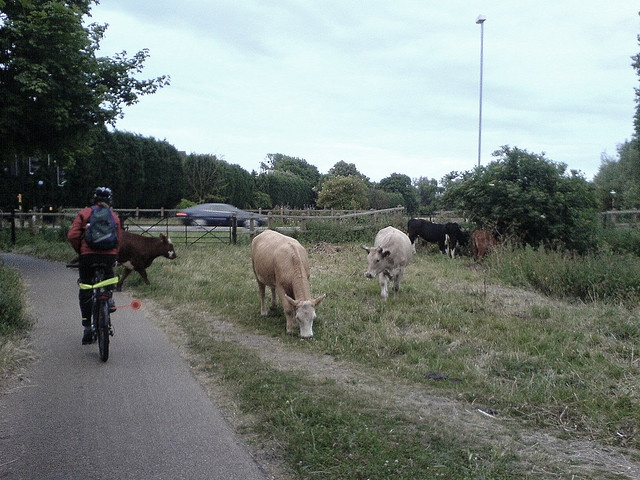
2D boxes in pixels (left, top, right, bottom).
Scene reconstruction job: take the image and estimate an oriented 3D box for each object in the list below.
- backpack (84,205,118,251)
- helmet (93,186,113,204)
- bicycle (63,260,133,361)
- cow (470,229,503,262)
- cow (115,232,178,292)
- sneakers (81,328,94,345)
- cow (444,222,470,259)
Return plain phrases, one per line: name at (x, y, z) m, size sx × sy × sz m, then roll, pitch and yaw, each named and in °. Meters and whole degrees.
backpack at (-3.843, -0.102, 11.126) m, size 0.544 × 0.858 × 0.469 m, roll -5°, pitch -25°, yaw -16°
helmet at (-3.974, -0.809, 11.421) m, size 0.278 × 0.380 × 0.375 m, roll 8°, pitch 21°, yaw -18°
bicycle at (-3.886, 1.274, 10.996) m, size 0.617 × 1.620 × 1.007 m, roll -5°, pitch 15°, yaw -26°
cow at (5.617, 0.245, 21.283) m, size 0.750 × 0.872 × 1.470 m, roll 5°, pitch 15°, yaw 11°
cow at (-4.893, 0.528, 16.237) m, size 2.289 × 1.374 × 0.638 m, roll 2°, pitch -1°, yaw -19°
sneakers at (-4.237, 1.737, 11.246) m, size 0.166 × 0.244 × 0.333 m, roll 4°, pitch -8°, yaw -34°
cow at (5.052, -0.036, 23.494) m, size 0.828 × 1.298 × 1.394 m, roll 11°, pitch 17°, yaw 32°
